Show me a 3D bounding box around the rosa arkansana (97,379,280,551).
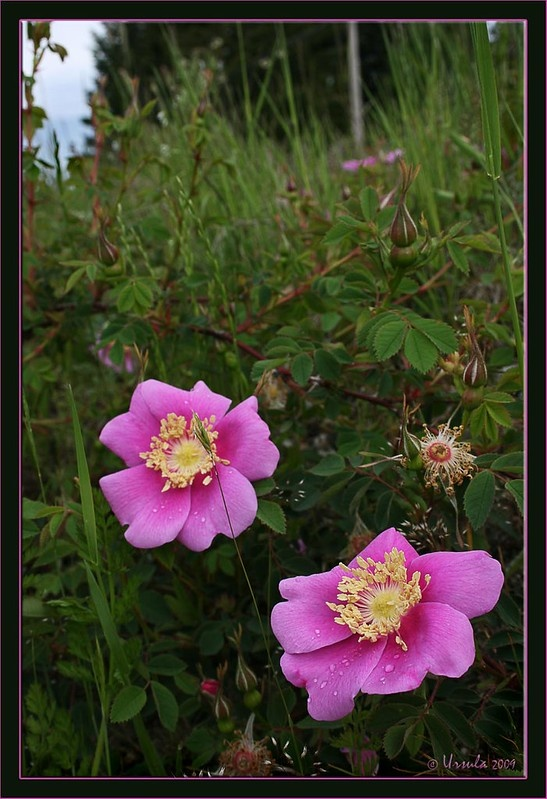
[{"bbox_3d":[-0.099,0.073,0.810,0.199,0.202,0.077,-50,-24,10],"label":"rosa arkansana"}]
